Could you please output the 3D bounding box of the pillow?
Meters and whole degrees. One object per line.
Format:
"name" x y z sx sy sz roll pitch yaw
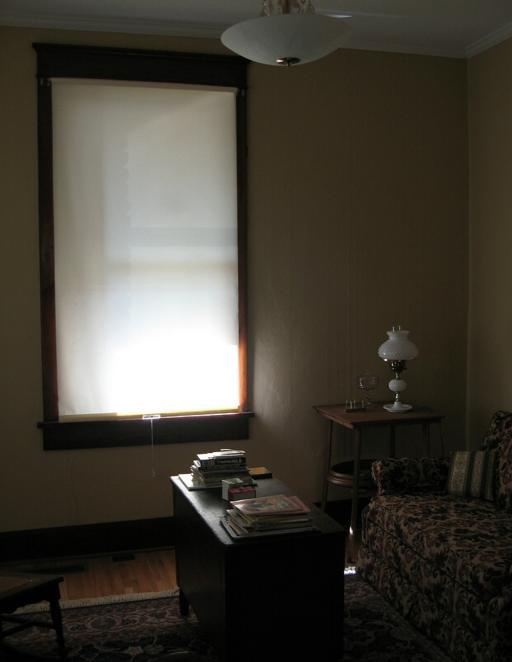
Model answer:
"pillow" 1.031 0.682 2.947 0.244 0.256 0.091 -1 -30 35

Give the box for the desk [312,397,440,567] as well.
"desk" 0.598 0.800 3.558 0.766 1.025 0.772 1 -5 -12
